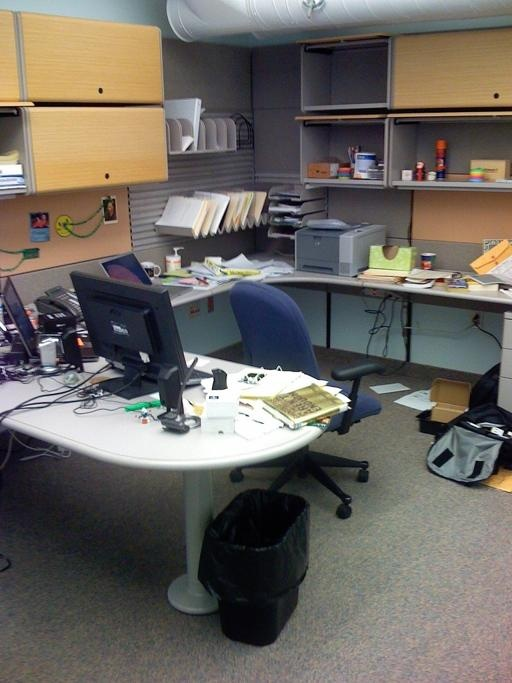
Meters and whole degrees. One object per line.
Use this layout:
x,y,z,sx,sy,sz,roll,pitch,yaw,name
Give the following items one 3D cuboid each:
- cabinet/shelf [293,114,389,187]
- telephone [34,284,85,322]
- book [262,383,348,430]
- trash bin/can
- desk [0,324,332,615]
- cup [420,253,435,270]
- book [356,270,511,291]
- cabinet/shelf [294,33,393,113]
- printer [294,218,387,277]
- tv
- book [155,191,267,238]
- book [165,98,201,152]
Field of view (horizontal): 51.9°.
0.618,-1.346,3.682,0.620,0.419,0.327,10,18,34,cabinet/shelf
-0.873,-0.166,2.335,0.238,0.076,0.167,18,34,22,telephone
0.147,0.181,1.485,0.131,0.026,0.126,-15,22,-33,book
-0.045,0.659,1.542,0.333,0.301,0.421,7,16,25,trash bin/can
-0.351,0.522,1.587,0.981,0.695,0.490,9,15,38,desk
1.157,-0.549,3.612,0.126,0.120,0.115,1,4,0,cup
1.096,-0.385,3.284,0.933,0.094,0.351,6,13,29,book
0.621,-1.842,3.594,0.708,0.499,0.370,11,21,31,cabinet/shelf
0.564,-0.670,3.656,0.461,0.352,0.490,10,19,36,printer
-0.440,-0.012,1.733,0.516,0.397,0.167,15,30,35,tv
-0.313,-0.919,3.755,0.422,0.329,0.734,7,14,33,book
-0.480,-1.371,3.326,0.244,0.348,0.218,1,12,7,book
